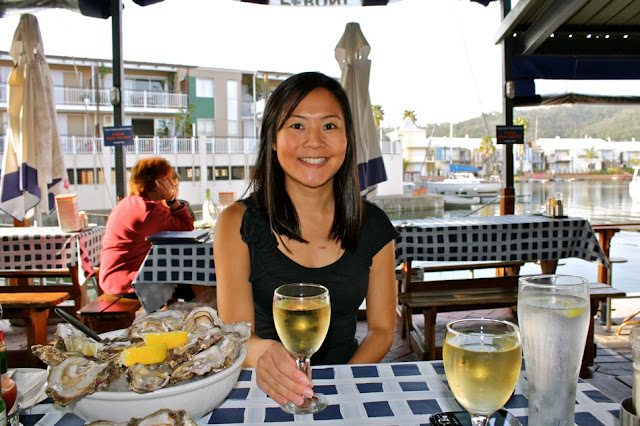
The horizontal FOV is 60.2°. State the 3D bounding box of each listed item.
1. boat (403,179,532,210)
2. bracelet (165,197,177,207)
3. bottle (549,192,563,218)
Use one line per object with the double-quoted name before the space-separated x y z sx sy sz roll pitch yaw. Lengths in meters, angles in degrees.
"boat" 9.648 -1.384 36.737 4.962 1.809 3.605 -6 6 -31
"bracelet" -1.550 -0.120 5.739 0.088 0.059 0.089 3 10 1
"bottle" 2.411 -0.084 5.592 0.147 0.226 0.277 0 6 24
